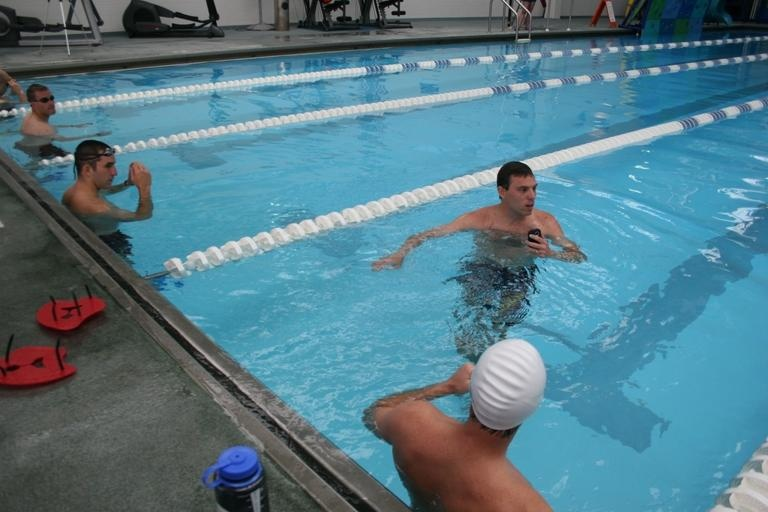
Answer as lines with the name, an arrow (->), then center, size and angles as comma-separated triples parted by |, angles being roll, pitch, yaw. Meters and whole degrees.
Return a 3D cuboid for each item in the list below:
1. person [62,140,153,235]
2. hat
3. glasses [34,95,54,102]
person -> -1.791, -0.440, 3.586 | 0.547, 0.595, 0.409 | -15, 36, -20
hat -> 0.382, 0.397, 1.809 | 0.302, 0.202, 0.261 | 2, 24, -5
glasses -> -3.014, -1.397, 4.943 | 0.038, 0.065, 0.125 | 17, 32, 25
